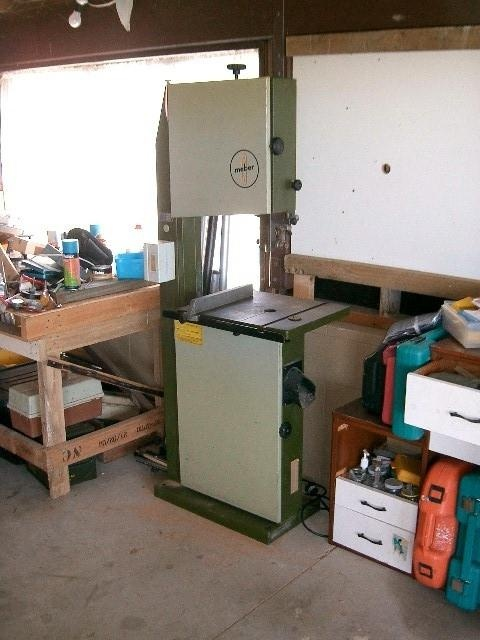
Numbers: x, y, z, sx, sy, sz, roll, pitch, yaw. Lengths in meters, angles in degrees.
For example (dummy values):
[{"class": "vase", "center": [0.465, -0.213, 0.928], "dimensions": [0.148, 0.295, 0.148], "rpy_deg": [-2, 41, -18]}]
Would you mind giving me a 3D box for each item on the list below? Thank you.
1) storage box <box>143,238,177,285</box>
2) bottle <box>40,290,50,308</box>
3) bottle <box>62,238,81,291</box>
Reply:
[{"class": "storage box", "center": [-0.321, -0.238, 2.241], "dimensions": [0.139, 0.198, 0.107], "rpy_deg": [17, 25, 33]}, {"class": "bottle", "center": [-0.845, -0.091, 2.381], "dimensions": [0.037, 0.066, 0.082], "rpy_deg": [-3, 10, -19]}, {"class": "bottle", "center": [-0.770, -0.256, 2.512], "dimensions": [0.071, 0.219, 0.159], "rpy_deg": [-3, 10, -17]}]
